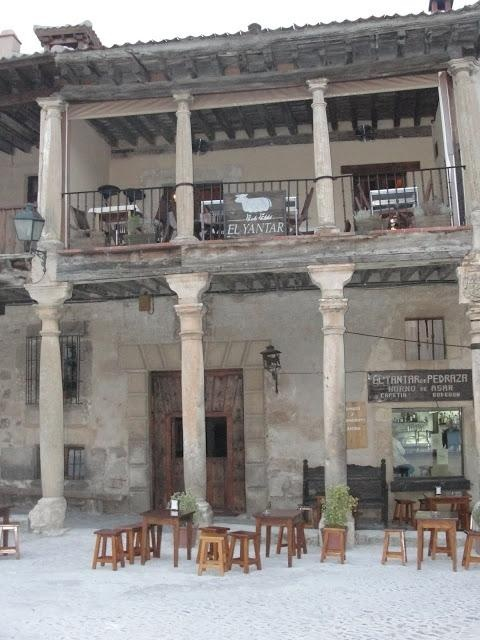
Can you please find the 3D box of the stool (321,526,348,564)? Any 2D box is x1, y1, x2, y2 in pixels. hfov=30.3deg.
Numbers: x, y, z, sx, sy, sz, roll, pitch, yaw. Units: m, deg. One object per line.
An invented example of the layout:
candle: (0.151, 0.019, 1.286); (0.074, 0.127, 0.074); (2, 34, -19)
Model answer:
stool: (1.175, 2.818, 11.073); (0.381, 0.561, 0.407); (-1, -12, 15)

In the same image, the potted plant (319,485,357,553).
potted plant: (1.250, 2.558, 11.645); (0.508, 0.758, 0.336); (7, -11, -39)

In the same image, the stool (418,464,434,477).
stool: (3.106, 2.523, 14.813); (0.175, 0.176, 0.182); (0, -3, -4)

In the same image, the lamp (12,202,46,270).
lamp: (-3.160, -1.347, 13.352); (0.442, 0.976, 0.946); (0, -7, -12)

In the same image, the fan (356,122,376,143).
fan: (2.262, -3.404, 16.107); (0.320, 0.343, 0.092); (12, 1, 5)

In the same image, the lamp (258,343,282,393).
lamp: (0.535, 0.834, 15.198); (0.333, 0.866, 0.626); (-2, -7, 2)

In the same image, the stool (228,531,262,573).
stool: (0.026, 2.756, 10.557); (0.432, 0.428, 0.572); (-5, -8, 23)

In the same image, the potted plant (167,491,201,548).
potted plant: (-0.679, 2.623, 11.598); (0.411, 0.677, 0.349); (-14, -19, 40)

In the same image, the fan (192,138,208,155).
fan: (-0.749, -3.245, 16.648); (0.265, 0.281, 0.065); (15, 8, 29)

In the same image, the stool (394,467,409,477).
stool: (2.718, 2.536, 14.876); (0.163, 0.221, 0.186); (1, -3, 39)

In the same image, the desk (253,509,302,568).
desk: (0.473, 2.716, 11.187); (0.544, 0.787, 0.816); (-5, -14, 19)

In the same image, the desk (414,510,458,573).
desk: (2.417, 2.662, 10.822); (0.478, 0.794, 0.820); (-1, -17, 8)

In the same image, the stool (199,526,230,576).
stool: (-0.312, 2.700, 10.383); (0.424, 0.643, 0.453); (-1, -14, 5)
